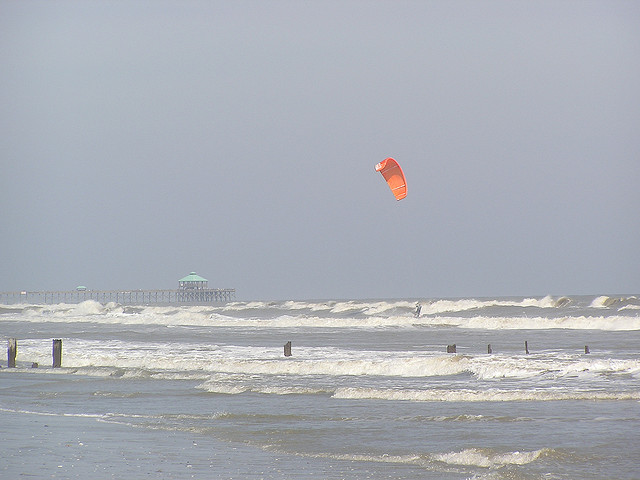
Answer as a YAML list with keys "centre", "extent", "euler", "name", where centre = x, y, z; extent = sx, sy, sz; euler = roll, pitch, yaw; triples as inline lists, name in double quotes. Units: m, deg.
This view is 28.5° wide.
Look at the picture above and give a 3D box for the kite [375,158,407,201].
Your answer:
- centre: [2.986, -2.216, 52.026]
  extent: [0.911, 1.960, 1.891]
  euler: [-8, -25, 8]
  name: "kite"
